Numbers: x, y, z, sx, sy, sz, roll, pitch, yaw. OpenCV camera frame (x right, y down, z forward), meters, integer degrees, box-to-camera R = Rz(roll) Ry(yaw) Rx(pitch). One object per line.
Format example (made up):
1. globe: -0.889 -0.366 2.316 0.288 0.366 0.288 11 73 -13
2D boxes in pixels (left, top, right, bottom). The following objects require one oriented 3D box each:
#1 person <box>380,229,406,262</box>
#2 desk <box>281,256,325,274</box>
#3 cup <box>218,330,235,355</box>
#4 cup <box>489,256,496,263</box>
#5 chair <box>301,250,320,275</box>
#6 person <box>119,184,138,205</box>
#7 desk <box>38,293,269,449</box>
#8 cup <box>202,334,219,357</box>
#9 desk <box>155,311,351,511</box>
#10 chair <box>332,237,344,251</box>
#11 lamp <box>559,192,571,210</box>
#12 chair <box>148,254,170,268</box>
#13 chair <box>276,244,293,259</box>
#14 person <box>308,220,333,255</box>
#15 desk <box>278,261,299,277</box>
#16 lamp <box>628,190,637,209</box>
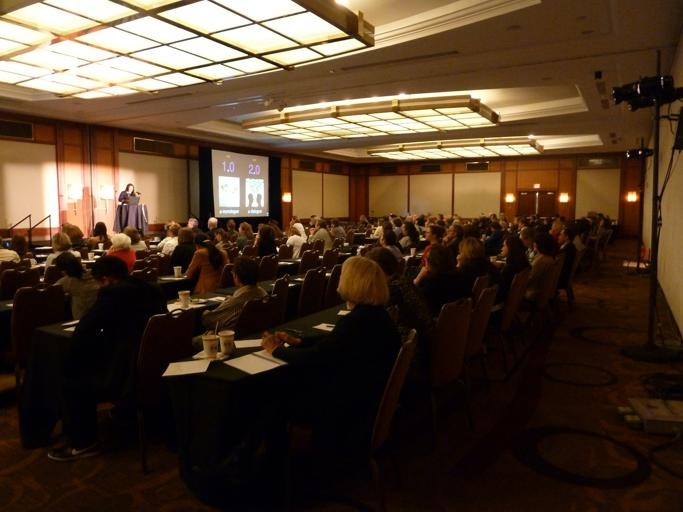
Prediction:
1. person: 0.869 -0.181 8.342 0.493 0.802 0.442 0 6 8
2. desk: -0.820 0.178 8.877 0.381 0.344 0.531 -6 6 -38
3. cup: -0.876 0.685 3.844 0.158 0.184 0.164 0 -4 0
4. cup: 2.596 0.064 8.385 0.073 0.073 0.096 -2 -2 28
5. chair: -0.558 0.105 8.657 0.347 0.526 0.305 8 10 41
6. person: -6.452 -1.887 14.771 0.599 0.602 0.890 -5 11 -24
7. desk: -1.769 0.805 4.114 1.125 0.753 1.452 5 11 25
8. cup: -0.991 0.680 3.673 0.139 0.158 0.141 0 -4 0
9. desk: -0.671 0.829 3.467 0.737 0.810 1.592 1 10 29
10. chair: -0.079 -0.266 10.982 0.282 0.262 0.237 -4 -5 25
11. lamp: 10.086 -2.538 22.041 0.474 0.709 0.293 0 10 3
12. chair: -3.107 0.087 8.287 0.183 0.241 0.346 7 8 27
13. chair: -1.184 -0.089 10.256 0.271 0.354 0.278 -3 9 -40
14. person: -0.610 -0.506 12.069 0.461 0.743 0.537 -5 21 -17
15. desk: -0.980 0.237 9.013 0.245 0.327 0.475 0 1 28
16. lamp: 12.443 -2.473 20.864 0.438 0.589 0.370 4 11 25
